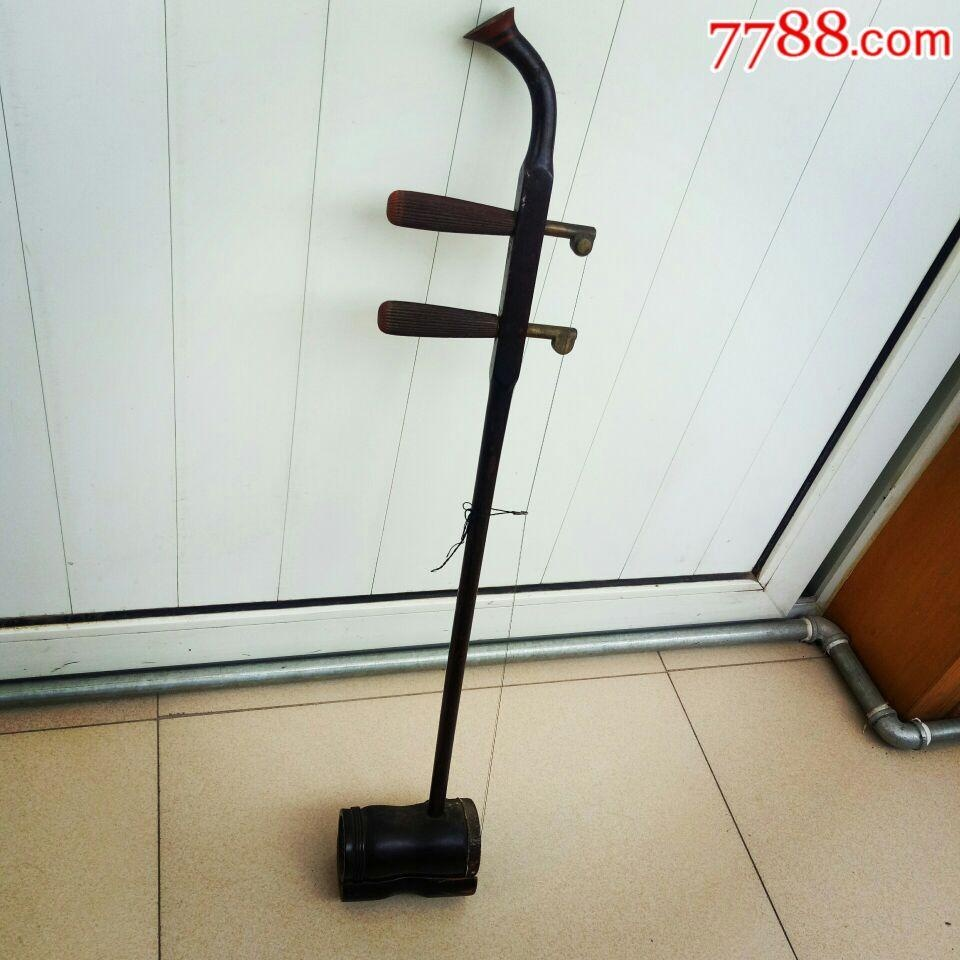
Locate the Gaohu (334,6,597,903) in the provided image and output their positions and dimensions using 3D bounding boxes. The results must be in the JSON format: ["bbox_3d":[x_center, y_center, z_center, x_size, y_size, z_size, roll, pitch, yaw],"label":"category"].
[{"bbox_3d":[-0.034,0.053,0.985,0.221,1.027,0.210,6,25,-9],"label":"Gaohu"}]
